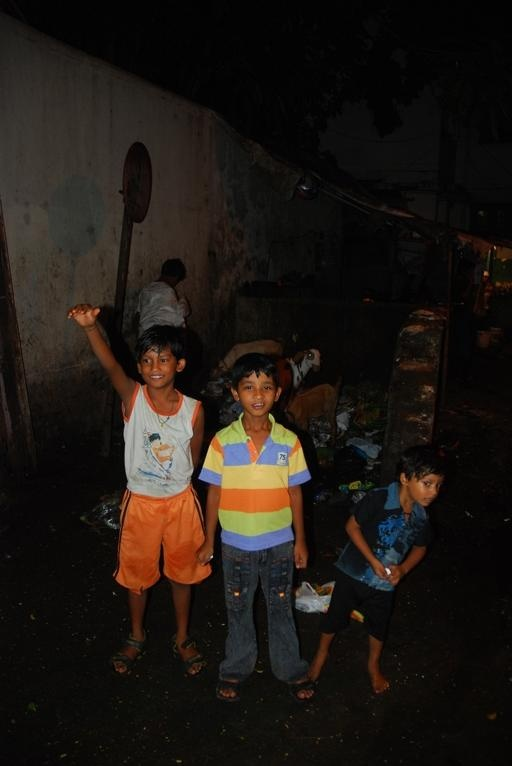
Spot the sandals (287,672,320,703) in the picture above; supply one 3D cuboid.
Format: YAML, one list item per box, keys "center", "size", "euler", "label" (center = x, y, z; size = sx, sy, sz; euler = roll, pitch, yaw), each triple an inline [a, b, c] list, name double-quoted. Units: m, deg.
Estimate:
- center: [0.204, 1.348, 2.427]
  size: [0.116, 0.077, 0.318]
  euler: [0, -6, 0]
  label: "sandals"

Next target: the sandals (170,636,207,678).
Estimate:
- center: [-0.307, 1.297, 2.617]
  size: [0.076, 0.059, 0.218]
  euler: [-12, 13, -23]
  label: "sandals"

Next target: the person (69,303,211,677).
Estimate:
- center: [-0.468, 0.512, 2.433]
  size: [0.523, 1.705, 0.359]
  euler: [2, 13, -1]
  label: "person"

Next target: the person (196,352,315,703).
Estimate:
- center: [0.008, 0.642, 2.344]
  size: [0.493, 1.513, 0.298]
  euler: [0, 13, -6]
  label: "person"

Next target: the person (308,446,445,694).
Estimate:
- center: [0.515, 0.815, 2.360]
  size: [0.425, 1.167, 0.365]
  euler: [13, 12, 6]
  label: "person"

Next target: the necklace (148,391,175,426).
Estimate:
- center: [-0.413, 0.114, 2.350]
  size: [0.095, 0.128, 0.030]
  euler: [-19, -10, -19]
  label: "necklace"
